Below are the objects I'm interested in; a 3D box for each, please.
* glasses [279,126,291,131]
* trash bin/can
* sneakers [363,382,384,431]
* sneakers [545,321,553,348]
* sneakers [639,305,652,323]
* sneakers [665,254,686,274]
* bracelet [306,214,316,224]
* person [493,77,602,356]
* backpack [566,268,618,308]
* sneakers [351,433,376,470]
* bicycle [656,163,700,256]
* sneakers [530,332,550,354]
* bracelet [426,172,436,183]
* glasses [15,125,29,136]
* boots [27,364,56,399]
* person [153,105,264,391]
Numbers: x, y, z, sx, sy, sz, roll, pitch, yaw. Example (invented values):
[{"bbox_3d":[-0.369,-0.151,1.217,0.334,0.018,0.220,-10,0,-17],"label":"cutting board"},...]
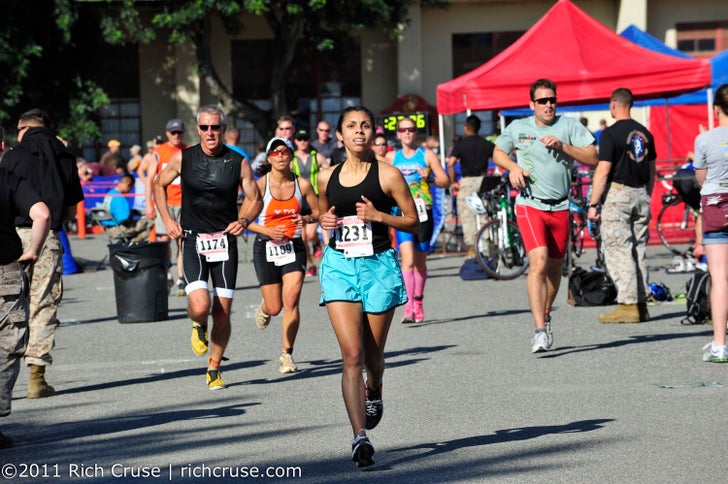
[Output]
[{"bbox_3d":[-1.285,-1.848,16.010,0.083,0.065,0.289,0,4,20],"label":"glasses"},{"bbox_3d":[-3.294,0.561,14.513,0.975,1.272,1.022,1,2,13],"label":"trash bin/can"},{"bbox_3d":[0.075,1.440,8.621,0.137,0.393,0.148,-2,5,1],"label":"sneakers"},{"bbox_3d":[2.101,1.065,11.184,0.103,0.334,0.134,-4,-17,13],"label":"sneakers"},{"bbox_3d":[3.703,0.965,12.961,0.147,0.218,0.119,-9,-17,-13],"label":"sneakers"},{"bbox_3d":[5.402,0.453,16.906,0.244,0.343,0.120,-5,-42,27],"label":"sneakers"},{"bbox_3d":[-0.608,-0.250,10.882,0.103,0.111,0.028,-4,-7,24],"label":"bracelet"},{"bbox_3d":[2.065,-0.309,11.526,0.949,3.151,0.857,-3,3,-37],"label":"person"},{"bbox_3d":[3.251,0.683,14.071,0.597,0.608,0.473,-2,-3,21],"label":"backpack"},{"bbox_3d":[-0.018,1.725,8.067,0.138,0.152,0.319,-10,-37,-3],"label":"sneakers"},{"bbox_3d":[5.600,-0.544,17.460,0.809,1.797,1.280,1,1,26],"label":"bicycle"},{"bbox_3d":[1.987,1.114,11.041,0.175,0.238,0.114,0,3,12],"label":"sneakers"},{"bbox_3d":[0.945,-0.918,14.039,0.127,0.196,0.063,1,-2,39],"label":"bracelet"},{"bbox_3d":[-3.630,-1.172,10.399,0.102,0.110,0.133,-3,8,-33],"label":"glasses"},{"bbox_3d":[-3.434,1.465,10.432,0.187,0.402,0.397,-6,-8,14],"label":"boots"},{"bbox_3d":[-1.638,0.059,10.445,1.064,3.004,0.677,-1,2,-7],"label":"person"}]
